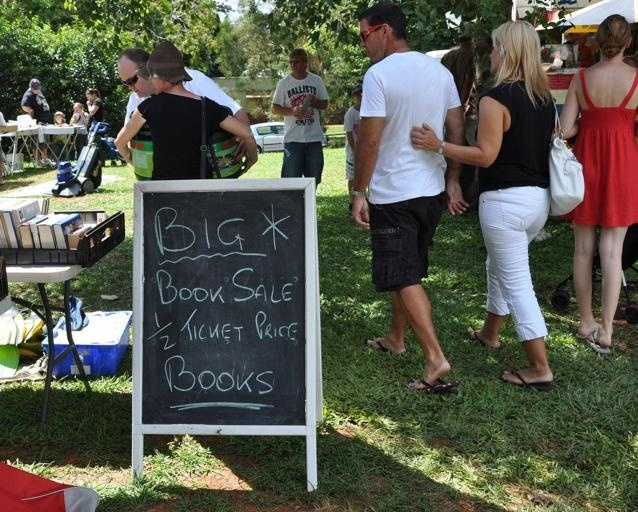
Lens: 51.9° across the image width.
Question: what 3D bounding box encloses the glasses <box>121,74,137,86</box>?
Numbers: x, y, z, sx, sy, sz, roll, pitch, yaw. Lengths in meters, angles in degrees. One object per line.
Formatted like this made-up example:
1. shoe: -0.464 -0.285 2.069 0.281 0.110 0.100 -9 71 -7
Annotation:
1. glasses: -1.298 -1.212 4.500 0.087 0.027 0.091 2 47 42

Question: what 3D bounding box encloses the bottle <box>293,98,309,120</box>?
1. bottle: -0.195 -1.760 7.747 0.102 0.245 0.159 4 14 33

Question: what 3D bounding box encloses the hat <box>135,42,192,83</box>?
1. hat: -0.928 -1.196 4.018 0.244 0.271 0.239 -6 12 -12

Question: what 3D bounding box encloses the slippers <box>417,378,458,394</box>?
1. slippers: 0.787 0.847 4.322 0.273 0.072 0.100 -2 26 20

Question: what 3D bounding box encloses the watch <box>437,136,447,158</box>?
1. watch: 0.792 -0.700 4.239 0.056 0.083 0.081 6 15 7

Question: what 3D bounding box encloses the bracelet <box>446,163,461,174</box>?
1. bracelet: 0.938 -0.602 4.531 0.066 0.069 0.066 4 -4 -40

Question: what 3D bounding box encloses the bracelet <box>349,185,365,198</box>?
1. bracelet: 0.268 -0.423 4.260 0.089 0.069 0.124 -4 12 -2

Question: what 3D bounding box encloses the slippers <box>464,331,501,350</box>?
1. slippers: 1.255 0.624 5.028 0.093 0.060 0.234 33 -3 -35

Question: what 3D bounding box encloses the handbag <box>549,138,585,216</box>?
1. handbag: 1.633 -0.525 4.309 0.207 0.529 0.192 1 12 20

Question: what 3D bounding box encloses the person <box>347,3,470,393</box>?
1. person: 0.602 -0.400 4.372 0.744 2.500 0.640 -1 12 12
